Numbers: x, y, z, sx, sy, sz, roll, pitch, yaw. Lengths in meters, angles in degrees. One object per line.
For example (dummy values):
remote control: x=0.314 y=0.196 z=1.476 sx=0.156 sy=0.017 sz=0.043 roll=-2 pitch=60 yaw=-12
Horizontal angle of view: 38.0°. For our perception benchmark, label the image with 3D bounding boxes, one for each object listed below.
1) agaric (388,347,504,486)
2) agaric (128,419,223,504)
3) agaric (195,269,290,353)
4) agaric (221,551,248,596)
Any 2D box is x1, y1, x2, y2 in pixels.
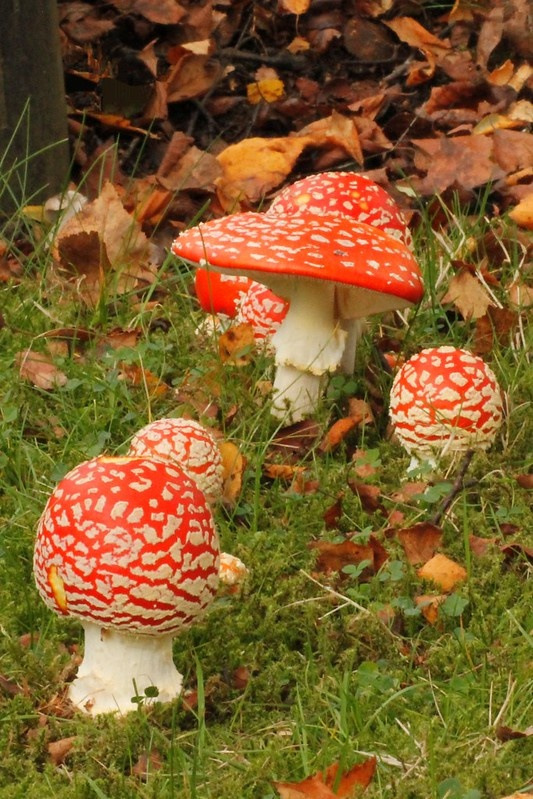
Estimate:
agaric: x=0.588 y=0.043 z=2.587 sx=0.364 sy=0.403 sz=0.234 roll=10 pitch=26 yaw=23
agaric: x=-0.275 y=0.187 z=2.326 sx=0.289 sy=0.259 sz=0.249 roll=8 pitch=-8 yaw=-11
agaric: x=-0.110 y=-0.388 z=3.322 sx=0.416 sy=0.364 sz=0.391 roll=1 pitch=-9 yaw=12
agaric: x=-0.093 y=0.470 z=2.097 sx=0.082 sy=0.091 sz=0.090 roll=-17 pitch=24 yaw=-37
